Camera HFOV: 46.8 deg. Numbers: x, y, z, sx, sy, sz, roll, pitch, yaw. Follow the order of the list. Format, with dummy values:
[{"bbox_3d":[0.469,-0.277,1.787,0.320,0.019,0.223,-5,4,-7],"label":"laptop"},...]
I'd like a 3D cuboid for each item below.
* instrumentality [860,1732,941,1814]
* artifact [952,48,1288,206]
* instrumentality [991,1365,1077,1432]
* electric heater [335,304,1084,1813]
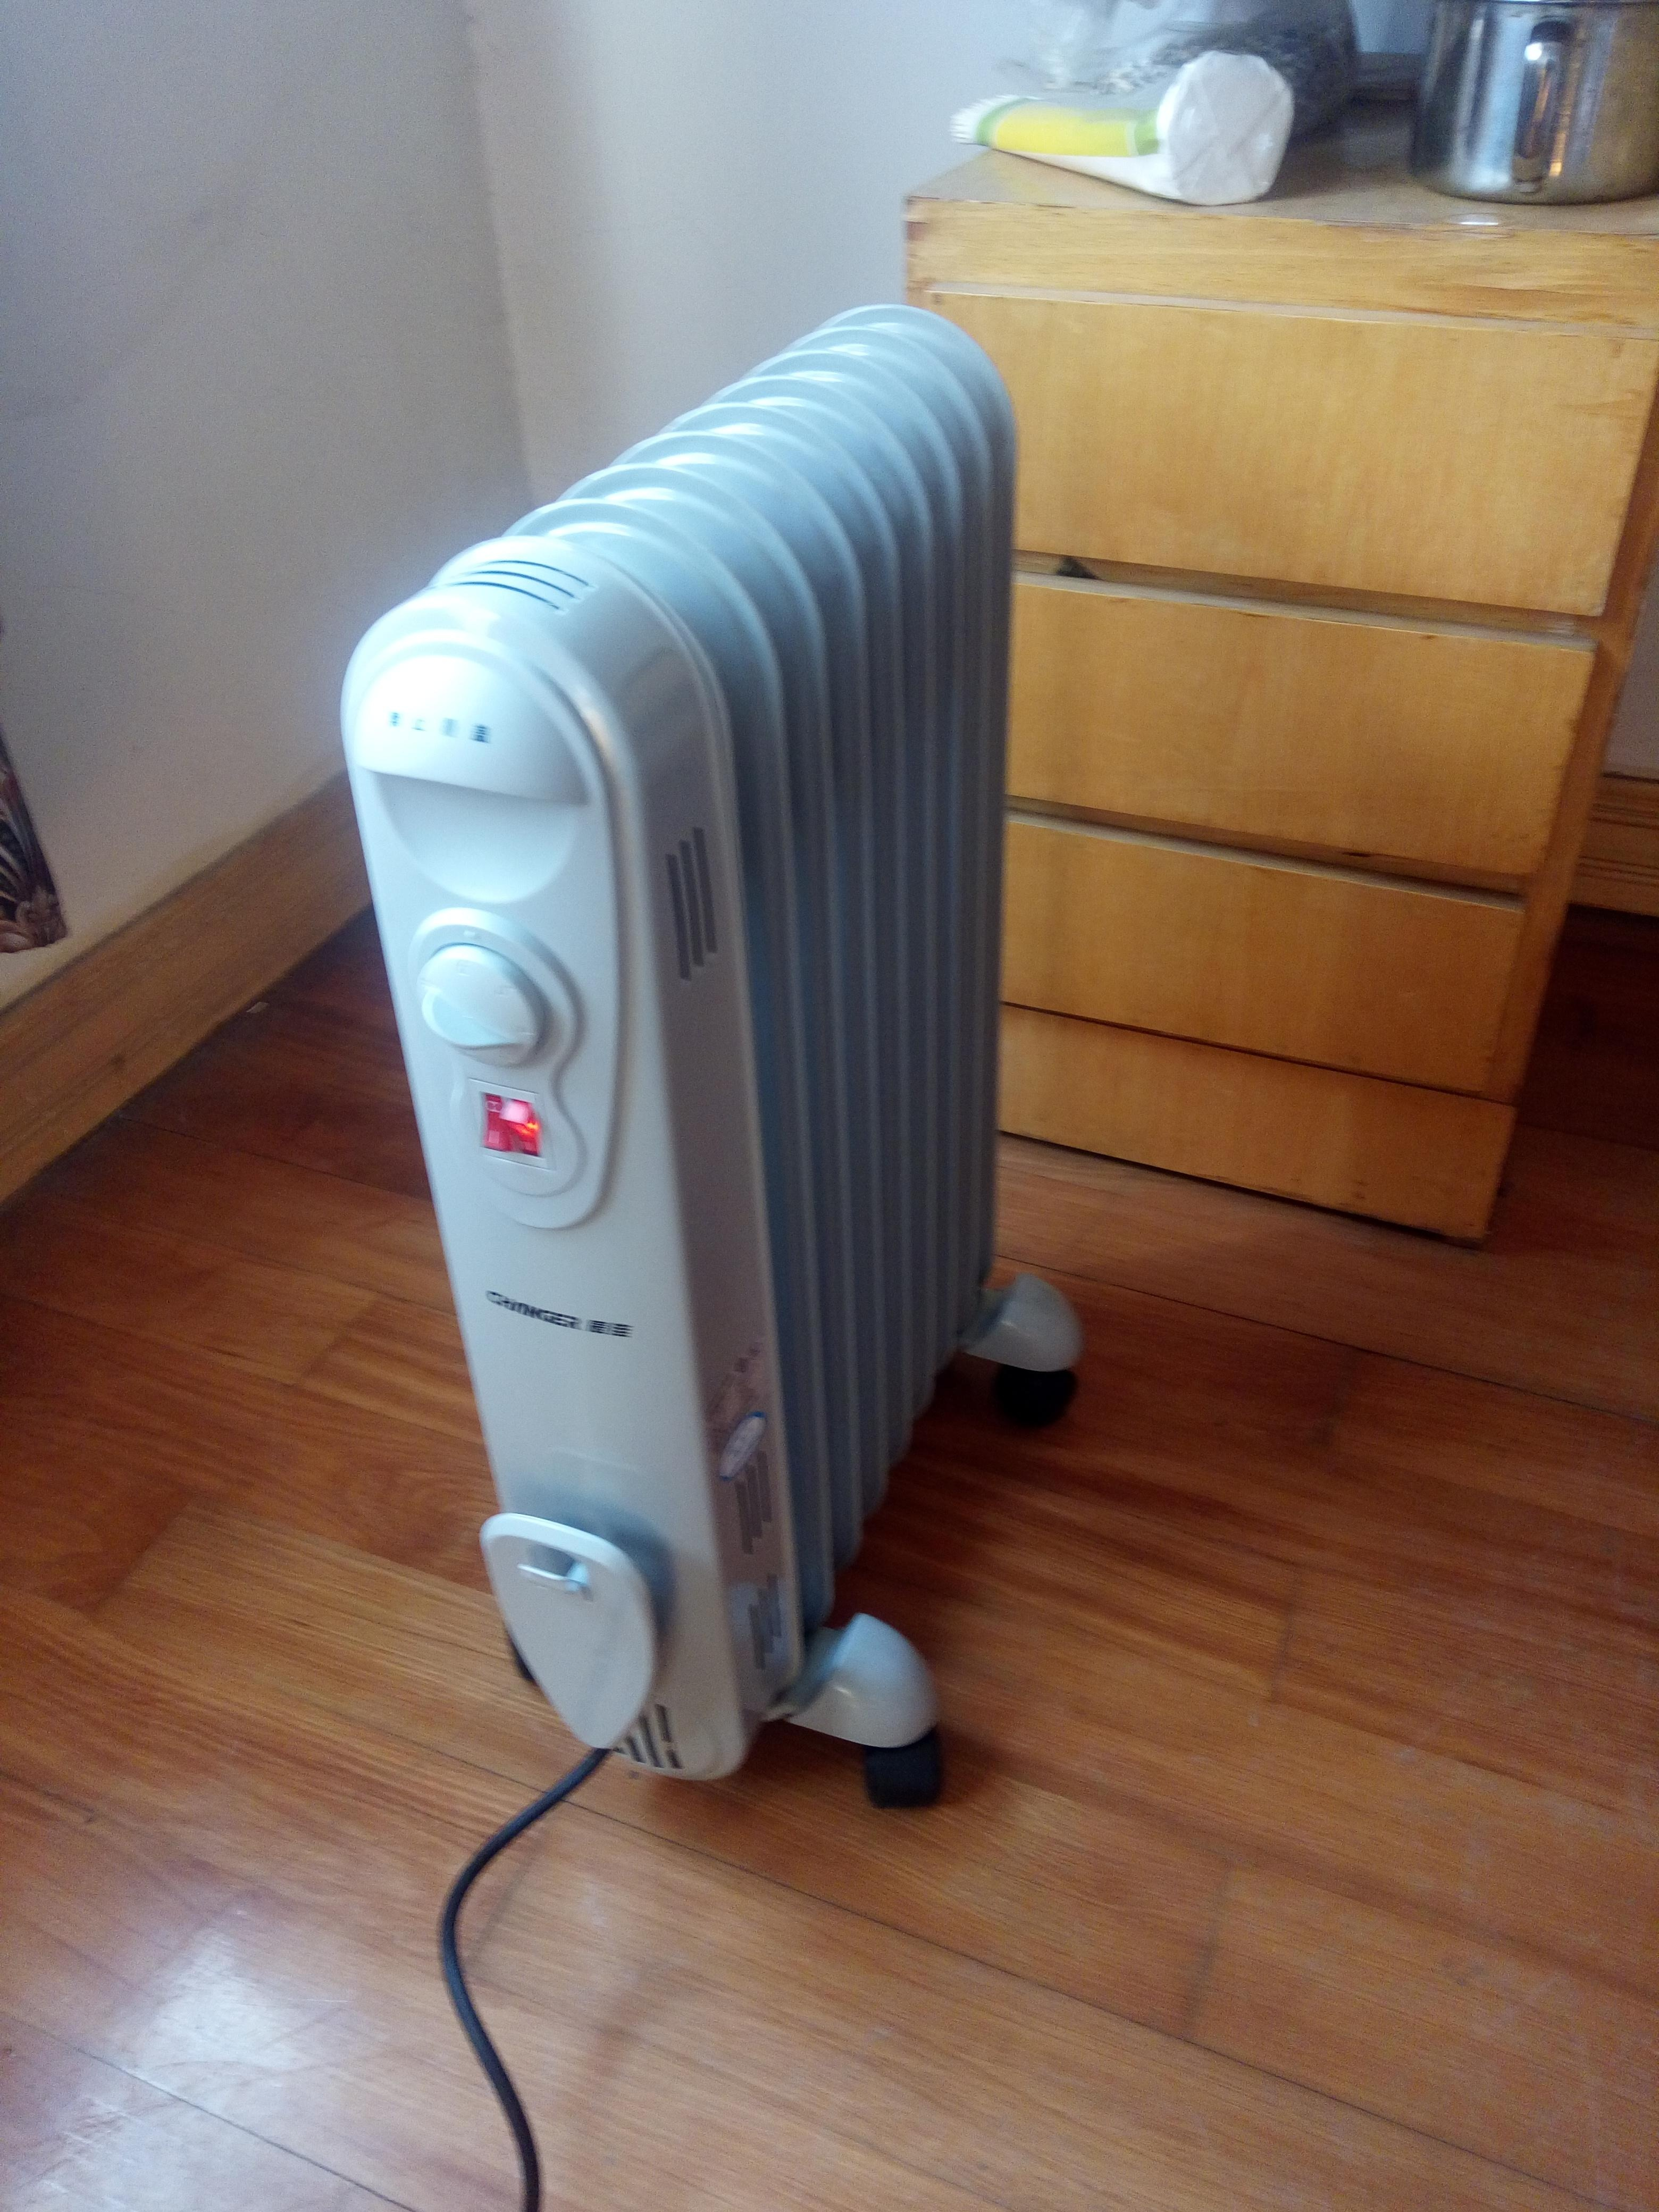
[{"bbox_3d":[0.034,0.310,0.882,0.038,0.036,0.010,-3,7,17],"label":"instrumentality"},{"bbox_3d":[0.119,-0.471,0.929,0.064,0.067,0.188,-17,37,-31],"label":"artifact"},{"bbox_3d":[0.115,0.165,1.077,0.044,0.029,0.040,5,26,10],"label":"instrumentality"},{"bbox_3d":[-0.004,0.008,0.830,0.231,0.607,0.420,4,43,8],"label":"electric heater"}]
